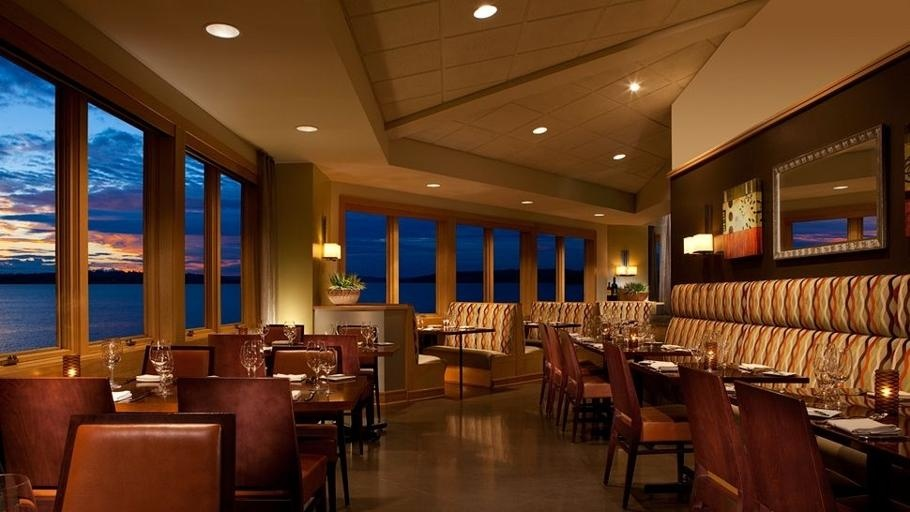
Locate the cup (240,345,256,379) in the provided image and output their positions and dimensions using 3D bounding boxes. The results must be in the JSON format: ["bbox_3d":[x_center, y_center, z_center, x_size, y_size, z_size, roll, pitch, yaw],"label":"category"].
[{"bbox_3d":[-1.707,0.868,4.835,0.104,0.241,0.124,-2,4,-24],"label":"cup"}]

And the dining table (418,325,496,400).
[{"bbox_3d":[-0.018,1.606,8.914,1.170,1.007,1.149,-3,-12,12],"label":"dining table"}]

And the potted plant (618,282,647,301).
[{"bbox_3d":[4.438,0.891,14.705,0.518,0.305,0.496,1,-9,-7],"label":"potted plant"}]

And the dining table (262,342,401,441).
[{"bbox_3d":[-1.275,1.303,6.485,1.444,0.815,1.389,0,-5,-5],"label":"dining table"}]

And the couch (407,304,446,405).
[{"bbox_3d":[-0.444,1.406,9.001,0.548,1.385,1.124,0,4,-1],"label":"couch"}]

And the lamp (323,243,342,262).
[{"bbox_3d":[-1.986,-0.070,9.354,0.258,0.244,0.243,-1,4,-17],"label":"lamp"}]

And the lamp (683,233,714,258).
[{"bbox_3d":[3.402,-0.161,8.150,0.320,0.267,0.396,0,3,6],"label":"lamp"}]

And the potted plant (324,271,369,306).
[{"bbox_3d":[-1.774,0.504,9.077,0.589,0.416,0.555,-2,-7,12],"label":"potted plant"}]

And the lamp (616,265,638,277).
[{"bbox_3d":[4.432,0.412,15.011,0.687,0.264,0.280,-1,4,-27],"label":"lamp"}]

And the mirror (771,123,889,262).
[{"bbox_3d":[4.033,-0.675,6.239,0.129,1.522,1.595,3,-6,-18],"label":"mirror"}]

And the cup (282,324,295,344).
[{"bbox_3d":[-1.878,0.911,6.661,0.129,0.203,0.222,-1,3,-17],"label":"cup"}]
